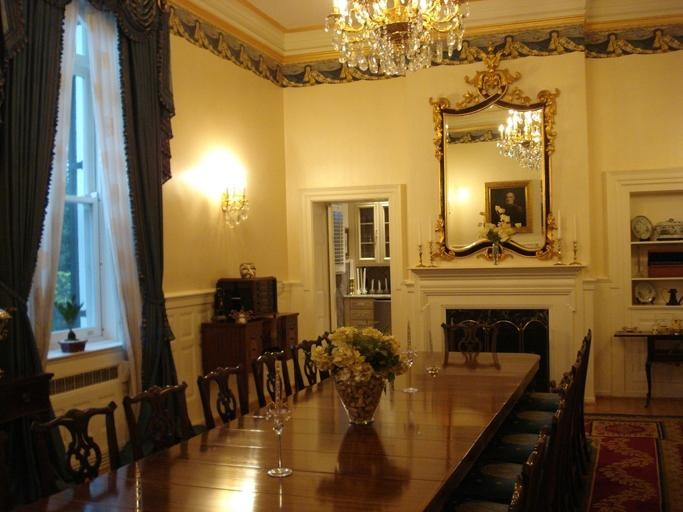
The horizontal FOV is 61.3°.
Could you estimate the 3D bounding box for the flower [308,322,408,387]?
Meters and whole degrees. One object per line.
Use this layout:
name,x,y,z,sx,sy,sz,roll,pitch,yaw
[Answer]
flower,0.193,0.676,3.604,0.504,0.396,0.569,4,3,31

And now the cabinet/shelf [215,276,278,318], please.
cabinet/shelf,-1.228,0.555,6.936,0.393,0.506,0.719,-2,-9,-5

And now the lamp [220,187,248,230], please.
lamp,-1.318,-0.595,7.035,0.389,0.625,0.418,-2,7,-11

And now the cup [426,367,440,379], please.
cup,0.746,0.965,4.750,0.051,0.075,0.051,-1,5,0

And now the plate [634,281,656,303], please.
plate,3.877,0.458,7.356,0.243,0.267,0.066,4,0,32

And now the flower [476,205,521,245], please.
flower,2.011,-0.396,7.369,0.417,0.506,0.254,3,11,12

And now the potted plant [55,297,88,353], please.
potted plant,-2.372,0.629,5.100,0.318,0.438,0.275,-10,-4,18

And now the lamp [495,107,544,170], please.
lamp,2.268,-1.618,7.445,0.462,0.688,0.480,-1,-3,-2

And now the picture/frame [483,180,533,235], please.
picture/frame,2.156,-0.635,7.400,0.641,0.794,0.057,1,2,22

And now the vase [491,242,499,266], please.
vase,1.962,-0.027,7.385,0.077,0.258,0.091,2,6,15

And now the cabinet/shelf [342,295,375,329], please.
cabinet/shelf,0.448,1.068,10.991,0.565,0.875,0.546,-2,-5,11

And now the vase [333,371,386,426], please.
vase,0.114,0.854,3.466,0.280,0.347,0.316,1,-6,-6

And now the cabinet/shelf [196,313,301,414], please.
cabinet/shelf,-1.060,1.249,7.144,0.525,0.957,1.733,-4,-3,13
